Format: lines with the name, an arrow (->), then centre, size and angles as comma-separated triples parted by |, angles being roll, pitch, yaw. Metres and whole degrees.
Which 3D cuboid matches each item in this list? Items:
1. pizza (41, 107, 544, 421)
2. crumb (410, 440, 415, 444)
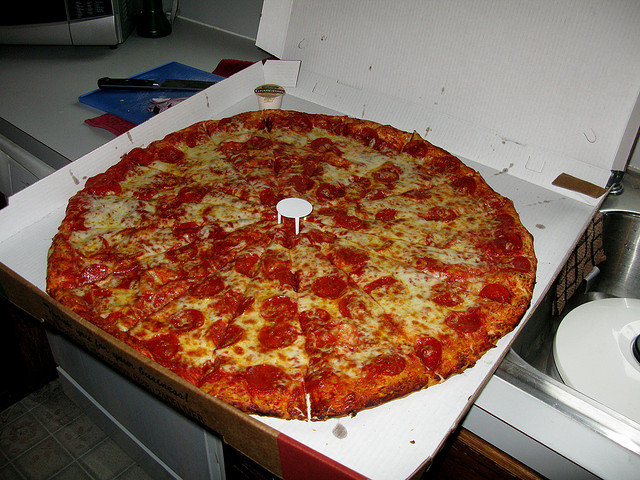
pizza -> -0.077, -0.060, 1.700 | 1.545, 0.400, 1.457 | 31, 39, 30
crumb -> 0.229, 0.503, 1.154 | 0.011, 0.002, 0.008 | 2, 34, -9
